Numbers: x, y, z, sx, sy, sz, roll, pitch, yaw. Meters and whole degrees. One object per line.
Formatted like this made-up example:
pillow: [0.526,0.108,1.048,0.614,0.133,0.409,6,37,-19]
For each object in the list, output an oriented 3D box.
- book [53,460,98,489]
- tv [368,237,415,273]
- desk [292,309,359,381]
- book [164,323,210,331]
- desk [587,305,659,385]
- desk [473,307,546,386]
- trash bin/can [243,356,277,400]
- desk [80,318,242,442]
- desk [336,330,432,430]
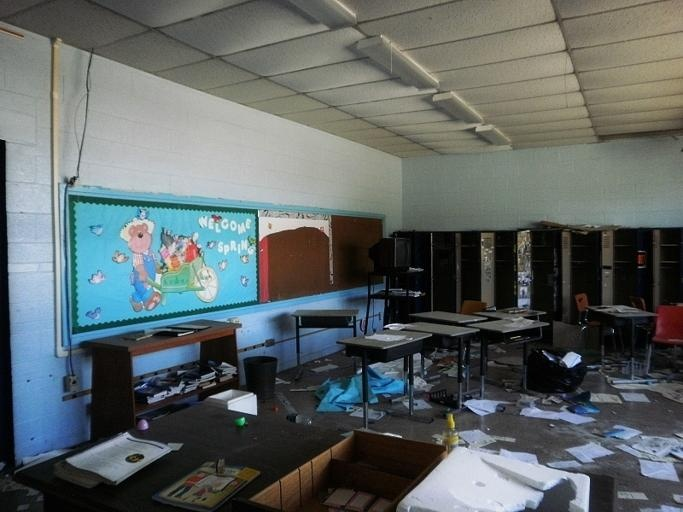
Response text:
book: [-1.297,1.060,2.369,0.288,0.062,0.055,2,5,27]
tv: [0.862,-0.019,7.907,0.626,0.478,0.767,1,3,28]
desk: [-0.225,1.152,6.854,1.247,0.877,0.865,0,-3,-2]
book: [-1.526,0.702,4.860,0.370,0.031,0.258,-1,-3,16]
desk: [4.052,1.182,6.721,0.717,0.770,1.021,-1,-4,29]
desk: [2.160,1.167,6.254,1.099,0.814,0.685,-1,1,-41]
trash bin/can: [-0.850,1.419,5.783,0.521,0.415,0.462,-1,-3,-5]
desk: [-1.683,1.170,4.881,0.681,0.735,1.338,-4,-2,29]
desk: [0.478,1.216,5.000,0.676,0.745,0.960,-4,-1,34]
